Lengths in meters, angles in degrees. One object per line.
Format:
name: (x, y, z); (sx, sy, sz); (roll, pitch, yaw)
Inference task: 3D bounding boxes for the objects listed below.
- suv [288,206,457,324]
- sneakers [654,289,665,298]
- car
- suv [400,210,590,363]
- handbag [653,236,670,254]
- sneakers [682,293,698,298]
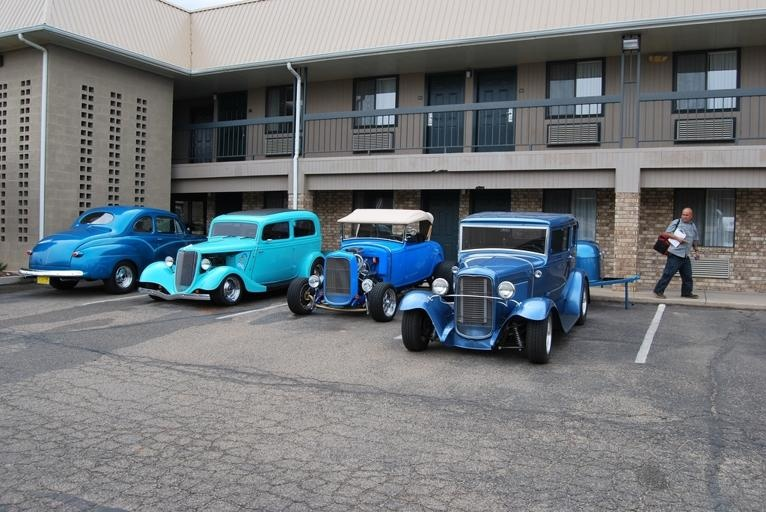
suv: (-0.118, 0.032, 13.221); (2.075, 1.958, 4.139); (-1, 1, 28)
sneakers: (7.106, 0.962, 14.140); (0.316, 0.142, 0.137); (9, 5, 17)
car: (-7.169, -0.313, 15.091); (2.186, 1.555, 3.887); (4, 7, 28)
suv: (2.286, 0.406, 10.254); (2.063, 1.733, 3.697); (-1, 0, 28)
handbag: (7.014, -0.286, 13.787); (0.312, 0.429, 0.195); (6, 11, 27)
sneakers: (7.896, 1.019, 14.107); (0.336, 0.139, 0.135); (-2, 4, 8)
